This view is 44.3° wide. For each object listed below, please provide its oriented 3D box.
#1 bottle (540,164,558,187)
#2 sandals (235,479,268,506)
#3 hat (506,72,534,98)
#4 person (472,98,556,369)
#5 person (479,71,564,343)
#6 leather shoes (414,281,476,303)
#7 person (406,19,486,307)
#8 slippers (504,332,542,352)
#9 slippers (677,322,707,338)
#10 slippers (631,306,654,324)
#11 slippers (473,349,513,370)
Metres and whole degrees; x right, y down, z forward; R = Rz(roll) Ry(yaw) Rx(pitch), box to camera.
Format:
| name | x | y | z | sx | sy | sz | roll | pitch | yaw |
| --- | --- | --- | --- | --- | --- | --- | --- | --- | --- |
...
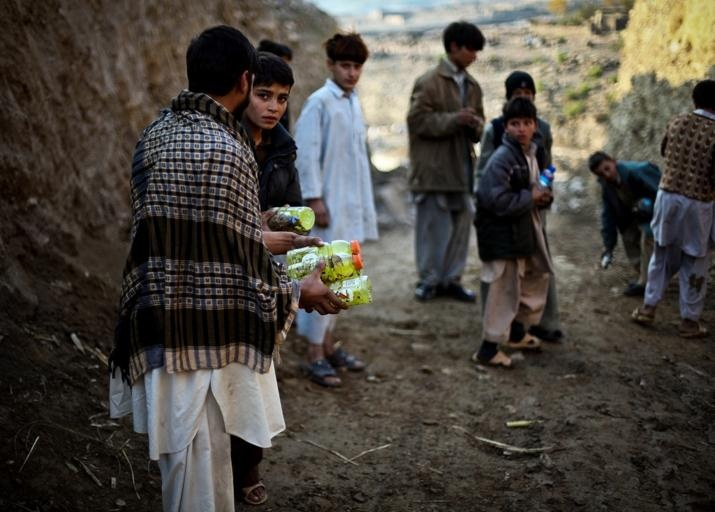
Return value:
| name | x | y | z | sx | sy | sz | roll | pitch | yaw |
| --- | --- | --- | --- | --- | --- | --- | --- | --- | --- |
| bottle | 1.542 | -0.638 | 7.132 | 0.110 | 0.210 | 0.445 | 2 | 15 | 19 |
| sandals | -0.719 | 1.624 | 5.951 | 0.117 | 0.075 | 0.220 | -8 | 8 | -38 |
| hat | 1.356 | -1.475 | 7.460 | 0.213 | 0.191 | 0.217 | -8 | 32 | -15 |
| person | 1.242 | -0.181 | 7.121 | 0.650 | 2.204 | 0.415 | -3 | 14 | 1 |
| person | 1.534 | -0.524 | 8.095 | 0.694 | 2.373 | 0.726 | 18 | 53 | 27 |
| leather shoes | 0.836 | 0.344 | 8.495 | 0.588 | 0.262 | 0.213 | -3 | 14 | 6 |
| person | 0.823 | -0.840 | 8.113 | 0.703 | 2.602 | 0.492 | -2 | 14 | 4 |
| slippers | 1.396 | 0.725 | 7.405 | 0.297 | 0.093 | 0.119 | -2 | 29 | 12 |
| slippers | 2.750 | 0.600 | 7.282 | 0.216 | 0.166 | 0.114 | -8 | 9 | -3 |
| slippers | 2.413 | 0.504 | 7.464 | 0.097 | 0.125 | 0.181 | -2 | 18 | -4 |
| slippers | 1.140 | 0.876 | 7.407 | 0.344 | 0.260 | 0.122 | -5 | 1 | 20 |
